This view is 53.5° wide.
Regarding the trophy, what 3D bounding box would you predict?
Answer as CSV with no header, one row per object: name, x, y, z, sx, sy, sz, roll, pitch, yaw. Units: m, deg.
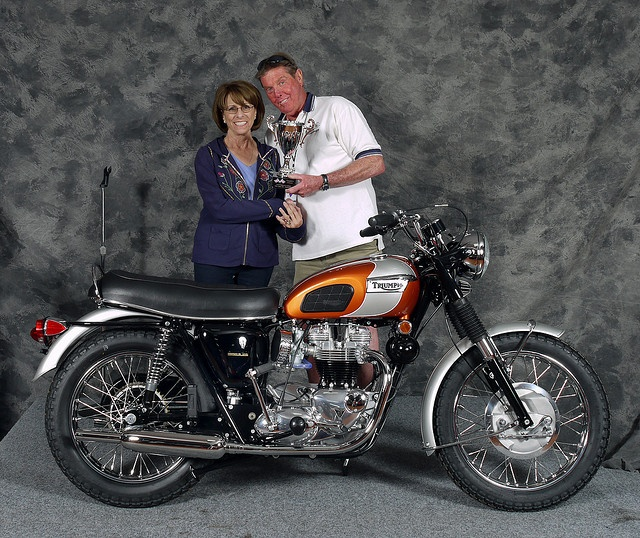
trophy,-0.133,-0.513,2.846,0.225,0.363,0.491,4,29,-1

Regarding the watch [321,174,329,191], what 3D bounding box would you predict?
watch,0.023,-0.375,2.749,0.040,0.070,0.031,1,30,-8

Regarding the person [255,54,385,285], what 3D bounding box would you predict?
person,-0.023,-0.286,2.987,0.556,1.361,0.460,-1,15,23
